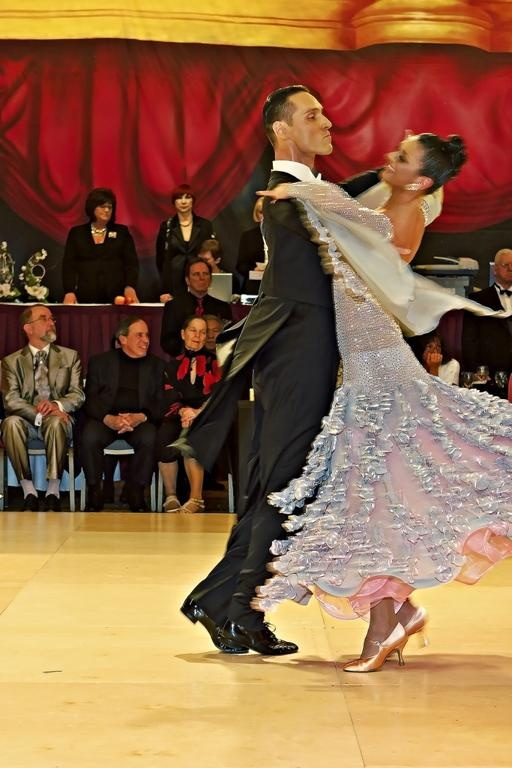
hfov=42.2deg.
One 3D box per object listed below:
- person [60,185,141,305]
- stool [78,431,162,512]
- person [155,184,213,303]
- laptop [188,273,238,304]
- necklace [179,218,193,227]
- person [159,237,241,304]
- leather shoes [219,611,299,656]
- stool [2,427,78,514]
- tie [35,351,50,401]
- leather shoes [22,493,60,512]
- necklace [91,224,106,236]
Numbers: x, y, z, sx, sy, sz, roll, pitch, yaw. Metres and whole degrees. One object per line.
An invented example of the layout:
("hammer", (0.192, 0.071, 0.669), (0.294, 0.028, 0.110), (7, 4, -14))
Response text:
("person", (-1.574, -1.381, 6.747), (0.736, 1.103, 0.477), (2, -11, -12))
("stool", (-1.078, 0.635, 5.330), (0.496, 0.589, 0.518), (3, -5, 15))
("person", (-0.777, -1.319, 7.480), (0.650, 1.686, 0.487), (-7, 19, -24))
("laptop", (-0.360, -0.917, 6.176), (0.360, 0.292, 0.263), (2, 13, 3))
("necklace", (-0.776, -1.798, 7.354), (0.085, 0.078, 0.110), (14, 34, 38))
("person", (-0.642, -1.125, 6.539), (0.973, 0.658, 0.851), (1, 4, 11))
("leather shoes", (0.002, 0.762, 2.037), (0.306, 0.117, 0.095), (9, -1, -9))
("stool", (-1.584, 0.690, 5.261), (0.425, 0.612, 0.356), (3, -11, -18))
("tie", (-1.758, -0.062, 5.425), (0.123, 0.438, 0.062), (-2, 0, -10))
("leather shoes", (-1.694, 0.922, 5.189), (0.245, 0.131, 0.360), (6, -11, -32))
("necklace", (-1.613, -1.583, 6.808), (0.115, 0.096, 0.038), (8, 34, -20))
